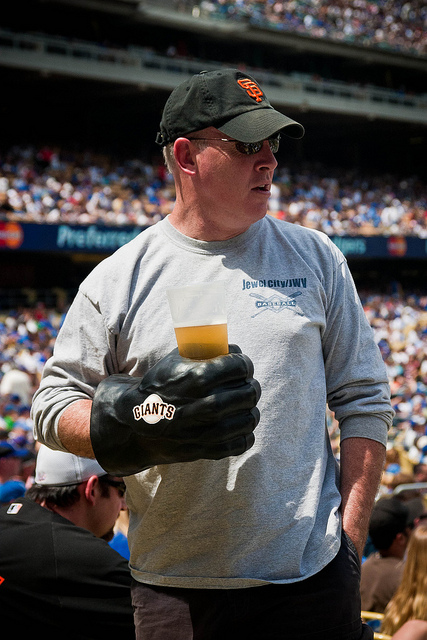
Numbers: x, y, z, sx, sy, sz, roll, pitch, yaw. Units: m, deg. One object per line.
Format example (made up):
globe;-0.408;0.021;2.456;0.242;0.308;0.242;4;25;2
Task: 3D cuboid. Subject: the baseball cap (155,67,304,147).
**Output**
baseball cap;0.055;-0.544;2.054;0.244;0.159;0.390;-24;24;-38

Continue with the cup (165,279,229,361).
cup;-0.031;0.000;1.719;0.125;0.164;0.053;0;5;0

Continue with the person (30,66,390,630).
person;0.021;0.062;1.989;0.712;1.341;0.623;-3;6;-33

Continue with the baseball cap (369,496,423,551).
baseball cap;0.882;1.009;4.086;0.160;0.196;0.321;1;4;20
